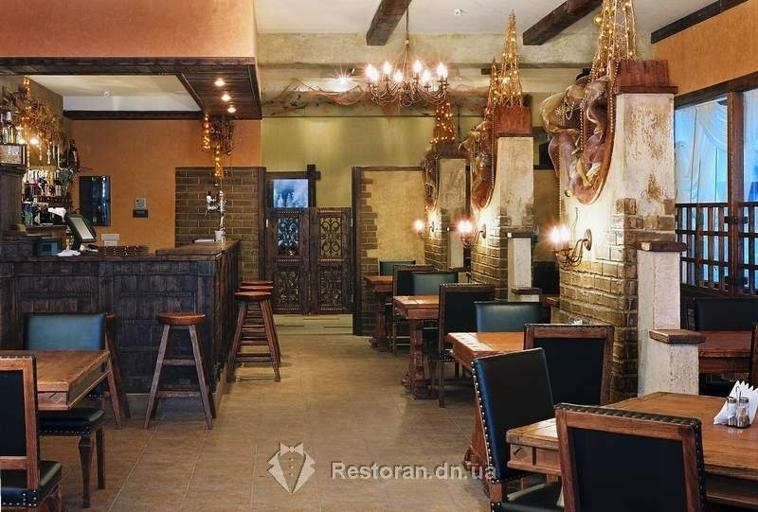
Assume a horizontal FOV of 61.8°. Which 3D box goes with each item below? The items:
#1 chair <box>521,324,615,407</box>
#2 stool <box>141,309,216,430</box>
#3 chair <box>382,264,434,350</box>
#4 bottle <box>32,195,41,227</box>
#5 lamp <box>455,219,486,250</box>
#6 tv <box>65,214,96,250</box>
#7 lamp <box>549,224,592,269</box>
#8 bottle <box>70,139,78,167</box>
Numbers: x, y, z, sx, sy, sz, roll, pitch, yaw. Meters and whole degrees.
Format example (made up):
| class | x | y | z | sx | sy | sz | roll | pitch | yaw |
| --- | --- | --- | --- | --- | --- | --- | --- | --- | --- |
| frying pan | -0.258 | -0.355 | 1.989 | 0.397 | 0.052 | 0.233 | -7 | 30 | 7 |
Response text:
| class | x | y | z | sx | sy | sz | roll | pitch | yaw |
| --- | --- | --- | --- | --- | --- | --- | --- | --- | --- |
| chair | 1.404 | 0.852 | 4.837 | 0.716 | 0.541 | 0.758 | 9 | 0 | 20 |
| stool | -2.005 | 1.135 | 6.405 | 0.821 | 1.012 | 0.803 | -2 | -5 | 9 |
| chair | 0.597 | 0.651 | 9.506 | 0.923 | 1.167 | 0.897 | -5 | 7 | -26 |
| bottle | -4.789 | -0.643 | 8.888 | 0.098 | 0.402 | 0.262 | -3 | 7 | -25 |
| lamp | 1.251 | -0.276 | 8.209 | 0.352 | 0.431 | 0.334 | 0 | -6 | -32 |
| tv | -3.409 | -0.276 | 7.270 | 0.290 | 0.373 | 0.694 | -3 | 7 | -25 |
| lamp | 1.723 | -0.086 | 5.769 | 0.363 | 0.441 | 0.388 | 0 | -1 | -6 |
| bottle | -5.084 | -1.716 | 10.612 | 0.114 | 0.477 | 0.481 | -3 | 7 | -25 |
